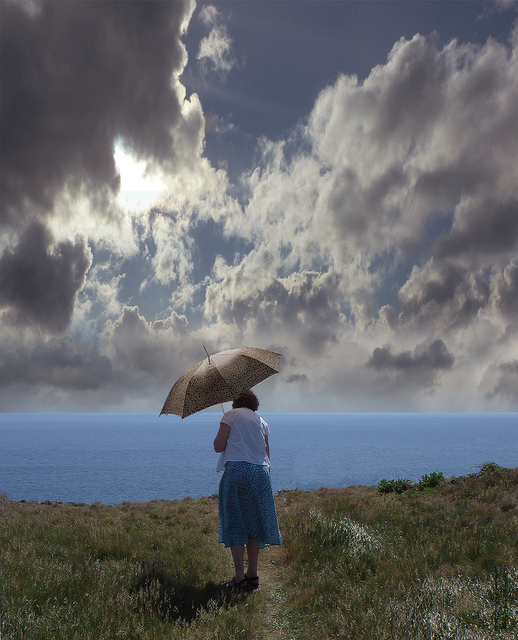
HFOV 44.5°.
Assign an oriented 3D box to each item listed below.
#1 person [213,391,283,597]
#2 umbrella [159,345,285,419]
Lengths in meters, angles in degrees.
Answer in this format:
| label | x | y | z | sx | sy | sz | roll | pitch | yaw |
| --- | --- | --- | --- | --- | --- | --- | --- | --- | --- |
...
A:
| label | x | y | z | sx | sy | sz | roll | pitch | yaw |
| --- | --- | --- | --- | --- | --- | --- | --- | --- | --- |
| person | -0.226 | 2.979 | 11.022 | 0.986 | 3.472 | 0.570 | -1 | -6 | -3 |
| umbrella | -0.686 | 1.094 | 11.487 | 2.034 | 1.279 | 1.339 | -1 | -9 | -11 |
